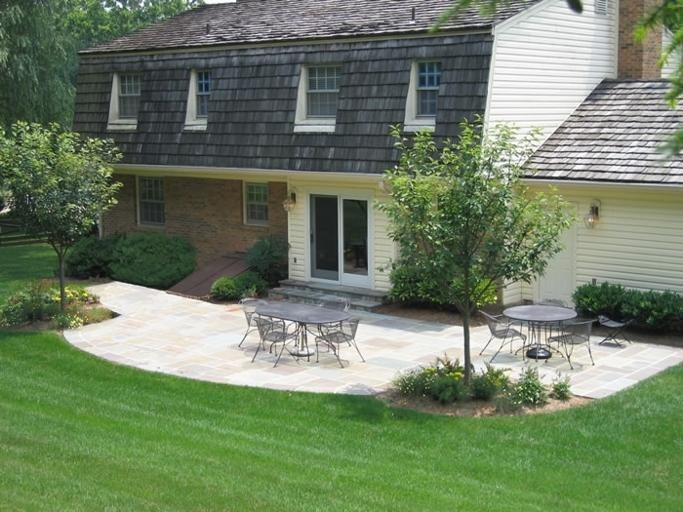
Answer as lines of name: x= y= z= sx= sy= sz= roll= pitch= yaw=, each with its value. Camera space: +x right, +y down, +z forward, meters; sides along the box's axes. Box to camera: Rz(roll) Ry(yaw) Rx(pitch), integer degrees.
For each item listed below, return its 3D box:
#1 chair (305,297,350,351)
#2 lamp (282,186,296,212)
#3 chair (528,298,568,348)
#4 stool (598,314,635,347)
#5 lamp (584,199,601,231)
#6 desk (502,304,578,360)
chair: x=-0.282 y=1.344 z=20.257 sx=0.806 sy=1.035 sz=0.840 roll=-1 pitch=7 yaw=-34
lamp: x=-1.486 y=-1.578 z=22.478 sx=0.356 sy=0.669 sz=0.291 roll=8 pitch=14 yaw=36
chair: x=4.568 y=1.482 z=17.915 sx=0.907 sy=1.225 sz=0.943 roll=-4 pitch=7 yaw=-43
stool: x=5.964 y=1.600 z=17.848 sx=0.564 sy=0.737 sz=0.851 roll=-7 pitch=7 yaw=-42
lamp: x=5.908 y=-1.014 z=19.006 sx=0.323 sy=0.666 sz=0.303 roll=7 pitch=13 yaw=29
desk: x=4.101 y=1.414 z=16.910 sx=1.268 sy=0.797 sz=1.247 roll=-3 pitch=9 yaw=-8
